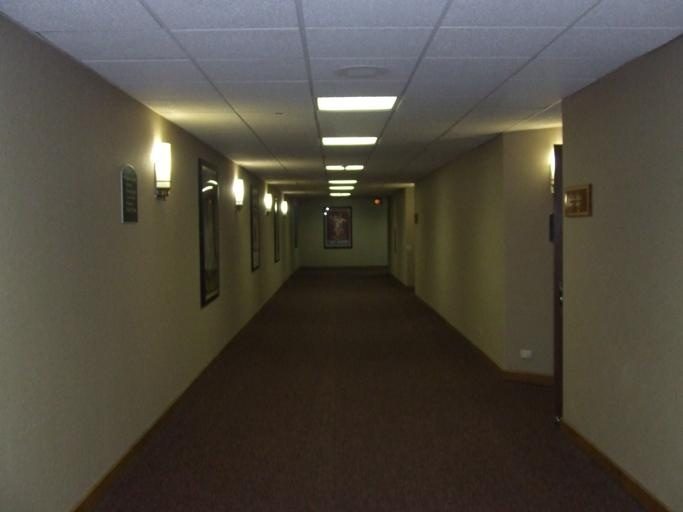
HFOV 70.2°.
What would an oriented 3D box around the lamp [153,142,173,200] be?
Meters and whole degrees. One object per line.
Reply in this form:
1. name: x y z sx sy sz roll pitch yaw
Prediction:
1. lamp: -1.624 -0.758 4.420 0.122 0.511 0.174 0 3 0
